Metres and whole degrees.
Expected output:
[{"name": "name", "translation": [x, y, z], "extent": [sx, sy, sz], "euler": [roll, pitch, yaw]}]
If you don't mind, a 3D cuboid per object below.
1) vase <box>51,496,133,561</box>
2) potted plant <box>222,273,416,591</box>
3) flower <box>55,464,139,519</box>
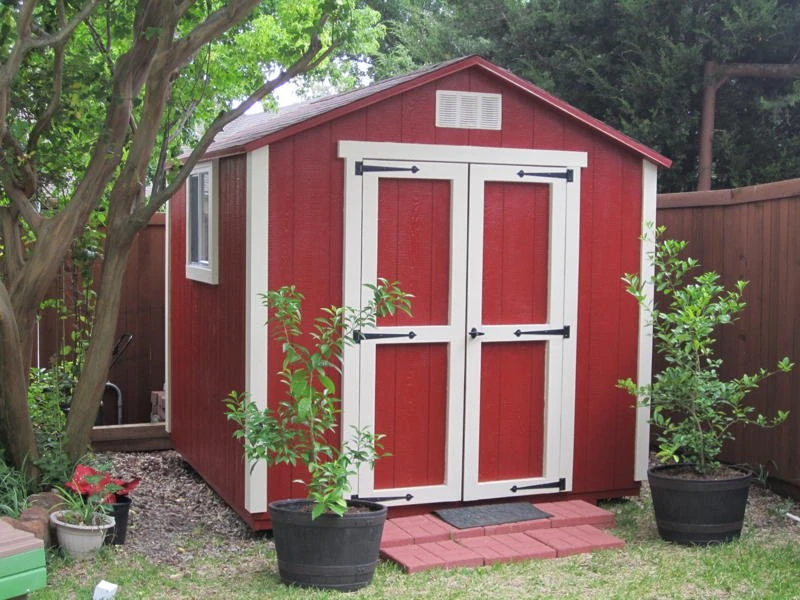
[{"name": "vase", "translation": [-2.331, 1.701, 6.166], "extent": [0.351, 0.243, 0.364], "euler": [3, 1, 17]}, {"name": "potted plant", "translation": [-0.601, 0.911, 6.201], "extent": [1.259, 2.124, 1.369], "euler": [0, 9, -7]}, {"name": "flower", "translation": [-2.321, 1.480, 6.362], "extent": [0.393, 0.216, 0.407], "euler": [0, 28, -15]}]
